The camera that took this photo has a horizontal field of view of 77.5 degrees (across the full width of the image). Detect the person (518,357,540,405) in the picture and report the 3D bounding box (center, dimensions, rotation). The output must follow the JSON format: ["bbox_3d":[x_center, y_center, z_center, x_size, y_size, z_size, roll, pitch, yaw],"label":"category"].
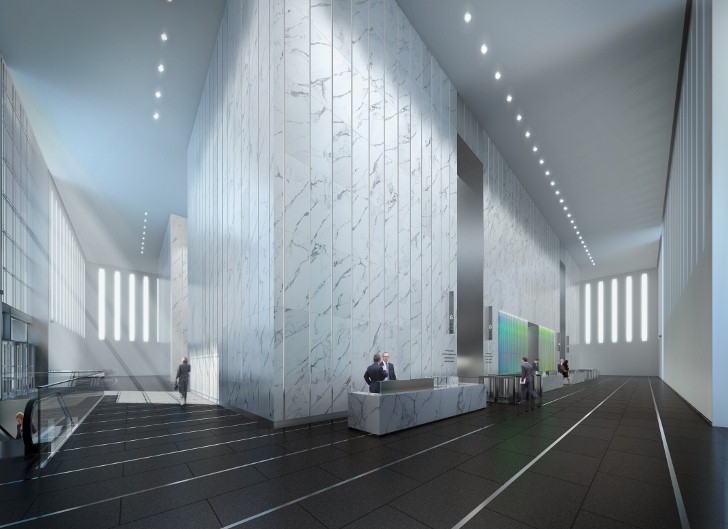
[{"bbox_3d":[5.883,4.127,16.203,0.618,1.680,1.802,0,-1,24],"label":"person"}]

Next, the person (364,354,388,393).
[{"bbox_3d":[0.338,3.083,12.612,0.601,0.846,0.661,1,-1,-14],"label":"person"}]

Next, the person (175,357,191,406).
[{"bbox_3d":[-6.520,4.134,16.267,0.391,1.413,1.904,1,-1,-22],"label":"person"}]
